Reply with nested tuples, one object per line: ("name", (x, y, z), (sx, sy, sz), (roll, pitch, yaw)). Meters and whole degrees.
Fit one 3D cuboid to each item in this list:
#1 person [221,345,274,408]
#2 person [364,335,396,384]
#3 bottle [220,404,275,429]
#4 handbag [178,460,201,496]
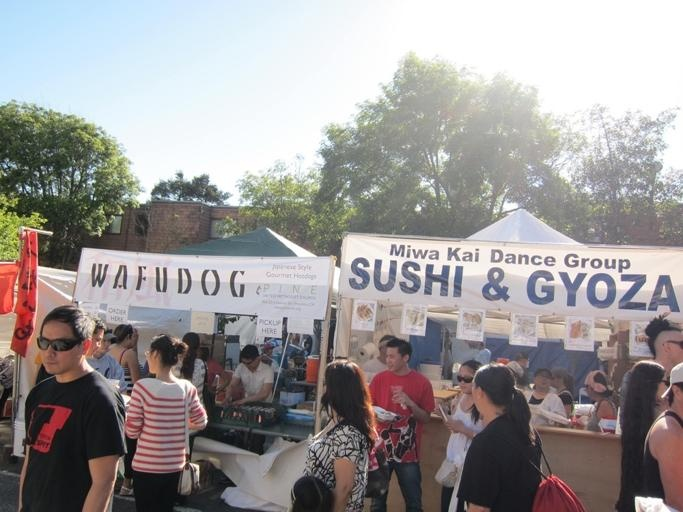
("person", (-1.352, 1.731, 8.180), (0.680, 0.842, 0.679), (5, -6, 0))
("person", (0.478, 1.346, 7.143), (0.235, 0.775, 0.447), (24, -9, 12))
("bottle", (-1.273, 2.182, 7.645), (0.782, 0.266, 0.370), (7, -7, -5))
("handbag", (-1.567, 2.299, 5.729), (0.189, 0.352, 0.367), (2, -18, -4))
